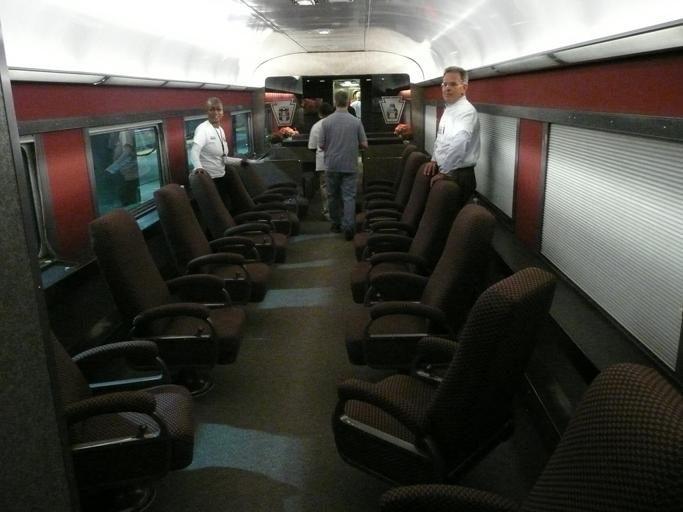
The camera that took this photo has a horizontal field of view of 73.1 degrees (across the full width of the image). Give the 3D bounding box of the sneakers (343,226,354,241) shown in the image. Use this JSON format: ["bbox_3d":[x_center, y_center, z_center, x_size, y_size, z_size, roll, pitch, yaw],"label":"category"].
[{"bbox_3d":[0.135,-0.393,8.043,0.200,0.225,0.199,2,21,7],"label":"sneakers"}]

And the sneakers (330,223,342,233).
[{"bbox_3d":[-0.089,-0.512,8.524,0.163,0.138,0.138,-5,7,5],"label":"sneakers"}]
